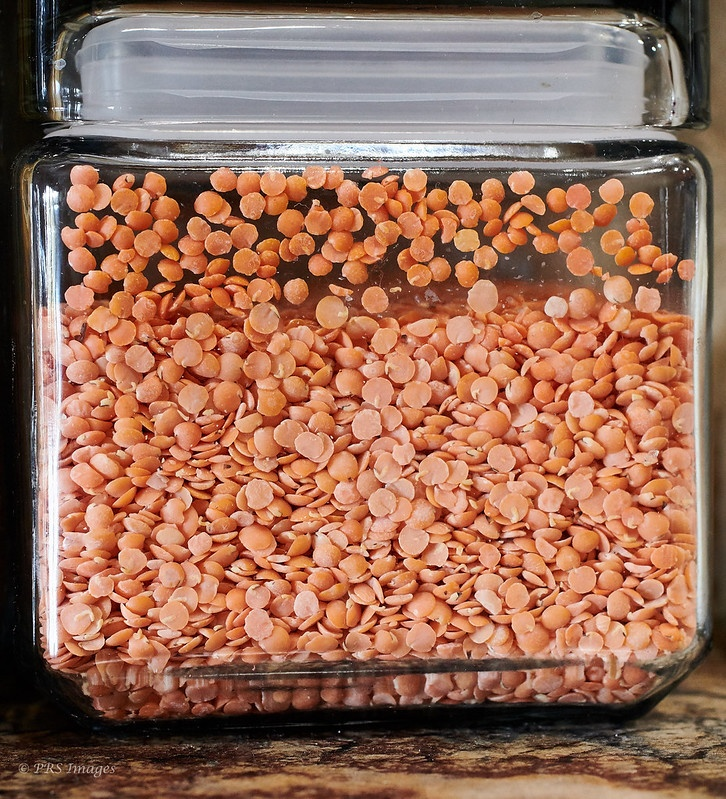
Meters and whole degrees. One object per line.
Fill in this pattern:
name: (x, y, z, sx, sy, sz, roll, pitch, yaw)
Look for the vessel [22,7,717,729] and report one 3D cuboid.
vessel: (0.008, -0.035, 1.105, 0.687, 0.597, 0.647, 0, 3, 3)
